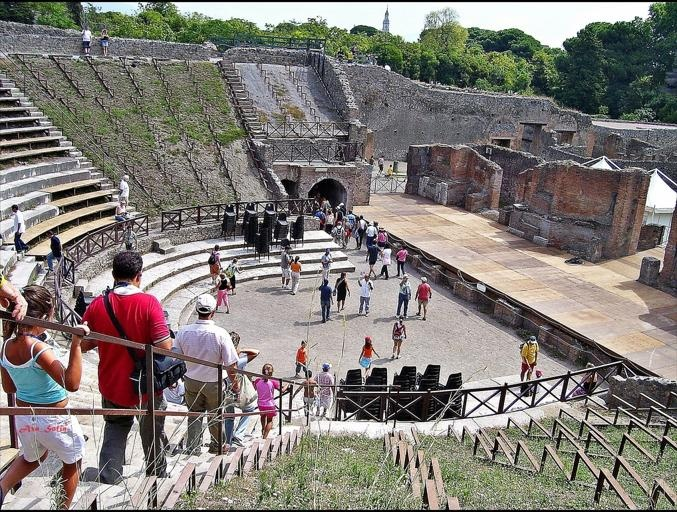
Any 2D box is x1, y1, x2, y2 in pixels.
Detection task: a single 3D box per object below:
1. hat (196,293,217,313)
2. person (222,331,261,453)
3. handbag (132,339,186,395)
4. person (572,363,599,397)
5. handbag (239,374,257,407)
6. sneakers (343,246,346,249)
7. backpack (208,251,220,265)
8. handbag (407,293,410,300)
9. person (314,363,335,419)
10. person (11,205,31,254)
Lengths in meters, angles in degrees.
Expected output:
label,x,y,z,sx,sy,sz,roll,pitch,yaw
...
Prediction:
label,x,y,z,sx,sy,sz,roll,pitch,yaw
hat,-1.631,0.584,6.583,0.188,0.124,0.257,4,18,-6
person,-1.444,1.912,7.693,0.682,1.538,0.588,3,-5,-38
handbag,-1.838,1.169,5.462,0.401,0.454,0.468,0,9,29
person,6.392,3.257,14.045,0.535,0.855,1.143,1,9,32
handbag,-1.306,1.899,7.620,0.233,0.578,0.542,-5,8,-8
sneakers,0.276,-0.427,24.774,0.103,0.137,0.406,-3,8,10
backpack,-4.213,0.071,18.099,0.453,0.441,0.251,7,6,17
handbag,2.434,1.386,18.465,0.123,0.165,0.150,5,12,-12
person,-0.246,3.031,12.221,0.451,1.148,0.500,4,3,33
person,-8.249,-0.677,13.832,0.284,1.271,0.794,-9,10,-30
